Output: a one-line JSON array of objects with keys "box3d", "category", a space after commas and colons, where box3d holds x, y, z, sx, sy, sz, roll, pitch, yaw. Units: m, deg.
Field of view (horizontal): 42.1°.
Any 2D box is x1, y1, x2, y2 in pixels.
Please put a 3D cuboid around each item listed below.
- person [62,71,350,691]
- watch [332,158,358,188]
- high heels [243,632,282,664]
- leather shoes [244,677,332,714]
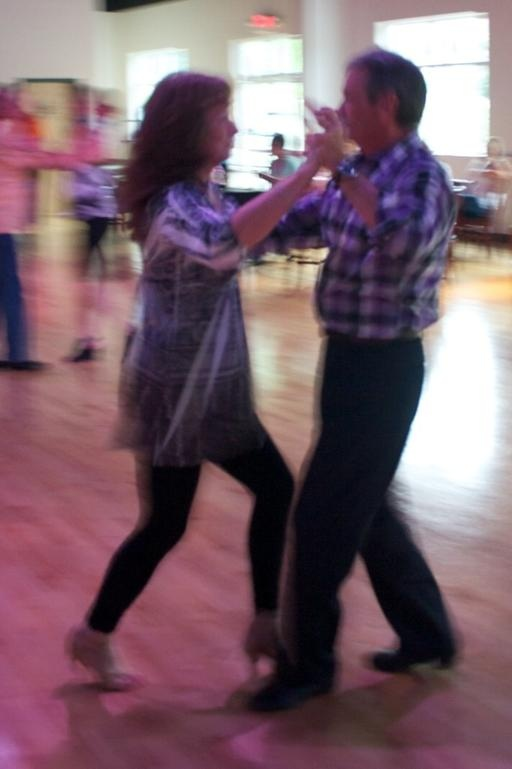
[{"box3d": [-0.044, 0.013, 1.226, 0.569, 1.054, 0.534, 2, 8, 19], "category": "person"}, {"box3d": [0.133, -0.321, 1.013, 0.037, 0.037, 0.018, 8, -9, 44], "category": "watch"}, {"box3d": [0.011, 0.565, 1.419, 0.065, 0.081, 0.075, -4, 8, 8], "category": "high heels"}, {"box3d": [0.066, 0.572, 1.275, 0.119, 0.045, 0.071, -9, 0, -18], "category": "leather shoes"}]
